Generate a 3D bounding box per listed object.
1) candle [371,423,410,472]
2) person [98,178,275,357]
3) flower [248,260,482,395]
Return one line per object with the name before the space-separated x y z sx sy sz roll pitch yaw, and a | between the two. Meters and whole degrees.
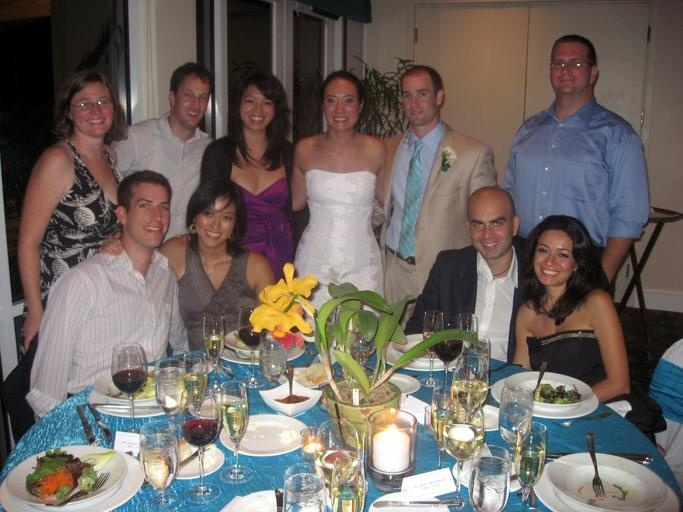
candle | 0.163 0.621 1.878 0.133 0.170 0.132 4 -8 -41
person | -0.874 0.073 3.019 0.863 1.188 0.349 -6 7 -36
flower | 0.065 0.281 2.191 0.809 0.533 0.466 2 29 -6
